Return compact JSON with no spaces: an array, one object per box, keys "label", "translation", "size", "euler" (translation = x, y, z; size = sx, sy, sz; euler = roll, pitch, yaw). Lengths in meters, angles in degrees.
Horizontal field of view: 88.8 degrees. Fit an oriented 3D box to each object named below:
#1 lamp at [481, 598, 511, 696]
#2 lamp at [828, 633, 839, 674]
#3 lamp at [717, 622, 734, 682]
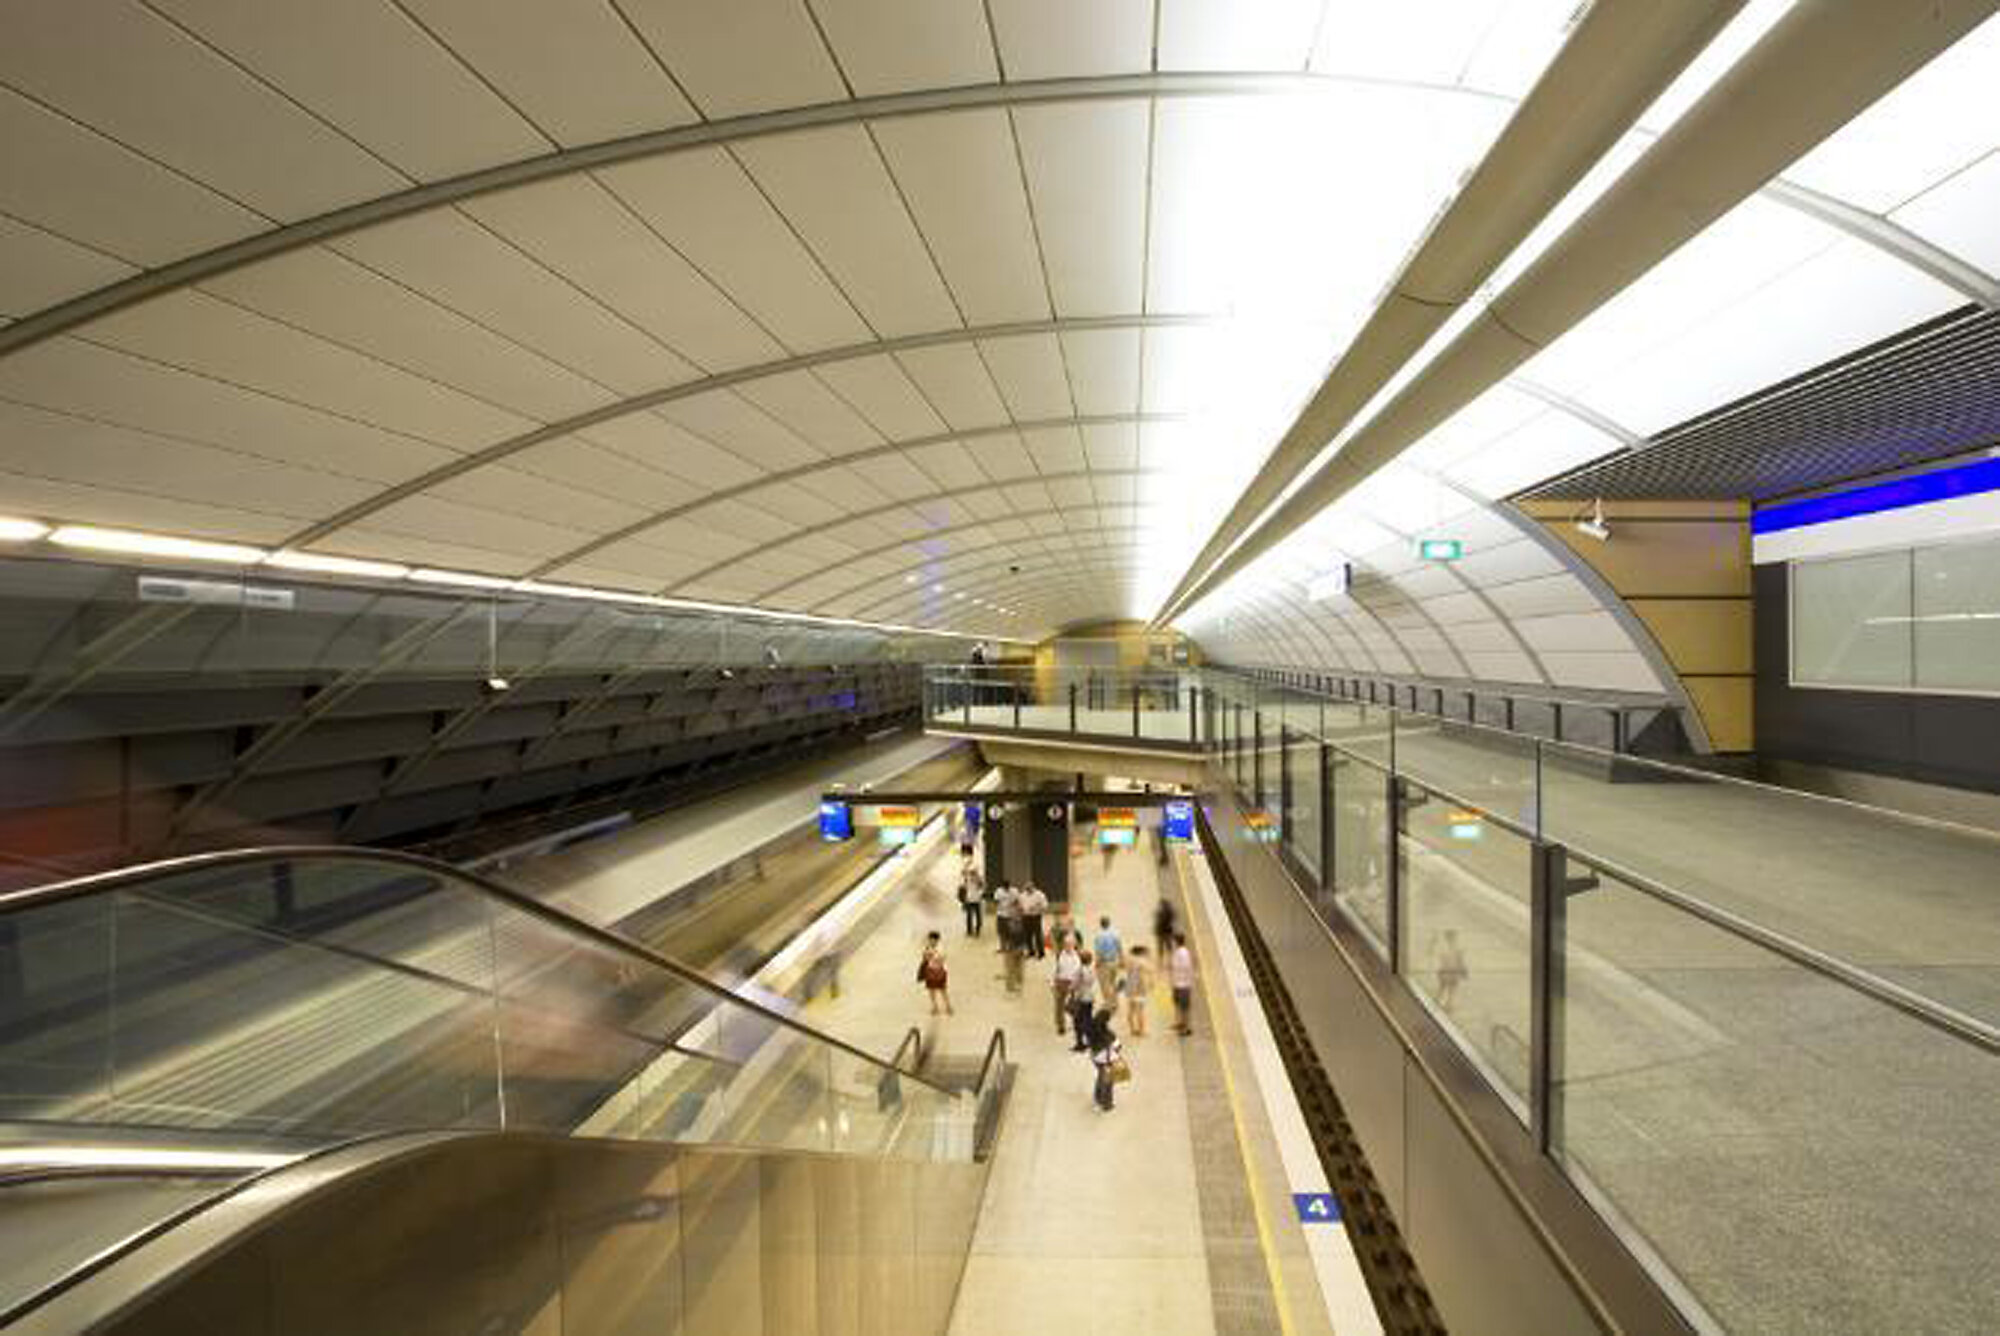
[{"label":"lamp","translation":[-6.825,-0.281,13.855],"size":[0.363,1.284,0.301],"euler":[-11,9,-29]},{"label":"lamp","translation":[-4.024,-0.383,24.866],"size":[0.268,1.020,1.012],"euler":[-7,8,-6]},{"label":"lamp","translation":[-5.084,-0.295,19.178],"size":[0.255,1.062,0.773],"euler":[-9,8,-14]}]
